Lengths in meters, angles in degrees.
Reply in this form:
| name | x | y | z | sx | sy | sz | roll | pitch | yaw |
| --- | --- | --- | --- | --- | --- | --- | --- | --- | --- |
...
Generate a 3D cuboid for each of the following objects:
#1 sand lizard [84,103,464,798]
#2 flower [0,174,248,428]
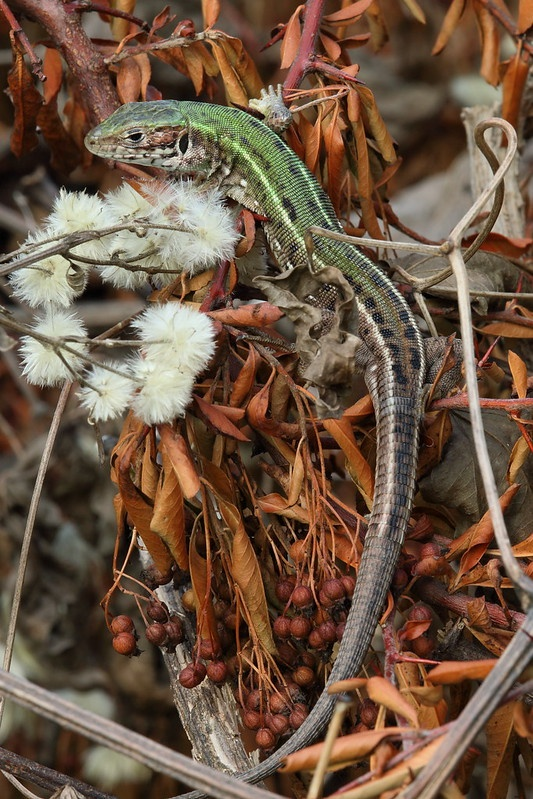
| name | x | y | z | sx | sy | sz | roll | pitch | yaw |
| --- | --- | --- | --- | --- | --- | --- | --- | --- | --- |
| sand lizard | 0.047 | -0.031 | 1.007 | 0.571 | 0.149 | 0.761 | 5 | 80 | 4 |
| flower | -0.131 | -0.105 | 1.078 | 0.295 | 0.157 | 0.293 | 14 | 80 | 38 |
